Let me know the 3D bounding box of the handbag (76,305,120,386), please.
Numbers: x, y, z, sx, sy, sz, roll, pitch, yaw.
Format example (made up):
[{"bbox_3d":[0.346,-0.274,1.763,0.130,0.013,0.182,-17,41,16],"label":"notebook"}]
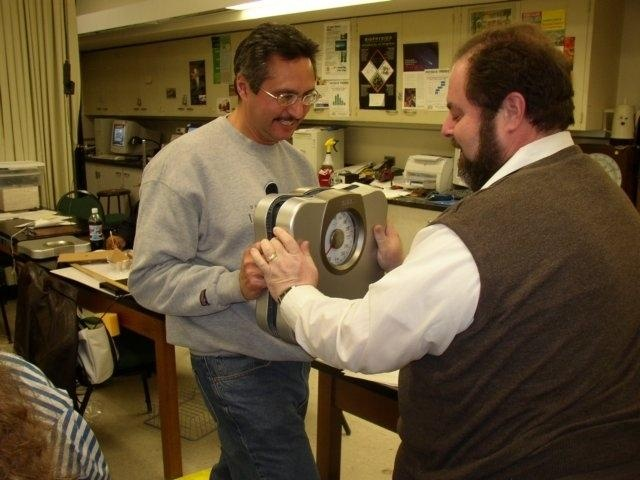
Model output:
[{"bbox_3d":[-1.053,0.535,2.494,0.142,0.294,0.216,-7,15,-23],"label":"handbag"}]

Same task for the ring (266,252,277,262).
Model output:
[{"bbox_3d":[-0.128,0.045,1.376,0.006,0.021,0.020,27,5,34],"label":"ring"}]

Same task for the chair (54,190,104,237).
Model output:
[{"bbox_3d":[-1.763,-0.193,3.811,0.301,0.530,0.335,-5,13,-27],"label":"chair"}]

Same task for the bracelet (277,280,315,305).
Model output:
[{"bbox_3d":[-0.058,0.137,1.361,0.066,0.073,0.018,17,2,-29],"label":"bracelet"}]

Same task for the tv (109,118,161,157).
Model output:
[{"bbox_3d":[-2.321,-1.311,6.548,0.365,0.399,0.520,9,12,31],"label":"tv"}]

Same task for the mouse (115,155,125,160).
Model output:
[{"bbox_3d":[-2.448,-1.027,6.409,0.113,0.036,0.116,2,4,23],"label":"mouse"}]
